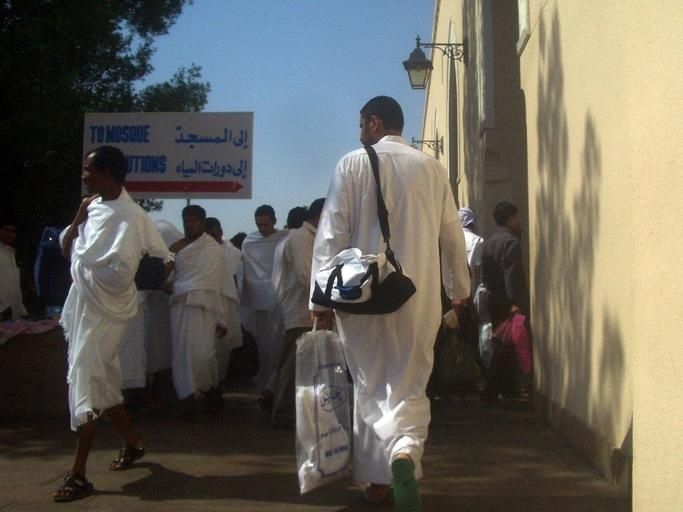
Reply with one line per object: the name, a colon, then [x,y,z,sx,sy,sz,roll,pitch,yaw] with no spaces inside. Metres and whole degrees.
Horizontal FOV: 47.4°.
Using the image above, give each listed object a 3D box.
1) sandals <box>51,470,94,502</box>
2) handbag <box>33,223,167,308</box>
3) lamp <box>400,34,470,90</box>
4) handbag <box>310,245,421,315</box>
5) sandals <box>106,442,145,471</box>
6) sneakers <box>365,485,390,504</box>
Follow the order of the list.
sandals: [-1.719,1.490,5.003,0.102,0.130,0.271,0,-11,11]
handbag: [-2.433,0.172,8.038,0.929,1.049,0.951,-2,-2,7]
lamp: [1.631,-3.382,13.397,1.002,0.886,0.469,-2,-1,1]
handbag: [0.147,0.000,4.803,0.639,0.715,0.353,2,-8,21]
sandals: [-1.540,1.447,5.544,0.111,0.143,0.274,3,7,29]
sneakers: [0.228,1.500,4.877,0.068,0.096,0.201,2,-8,14]
